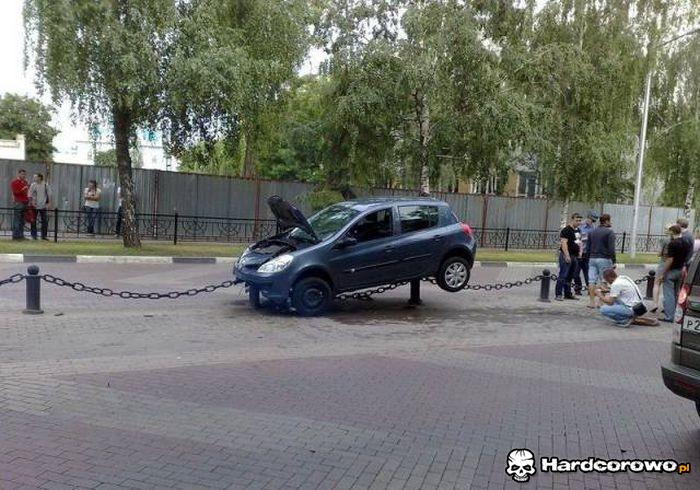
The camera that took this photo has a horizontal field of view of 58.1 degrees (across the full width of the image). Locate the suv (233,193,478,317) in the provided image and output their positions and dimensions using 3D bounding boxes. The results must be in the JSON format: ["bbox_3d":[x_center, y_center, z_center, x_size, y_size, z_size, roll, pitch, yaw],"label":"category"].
[{"bbox_3d":[0.002,0.055,12.962,4.133,2.011,2.291,-3,2,-26],"label":"suv"}]

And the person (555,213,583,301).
[{"bbox_3d":[5.262,0.279,15.149,0.479,2.071,0.771,6,11,19],"label":"person"}]

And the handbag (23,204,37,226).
[{"bbox_3d":[-9.993,-0.944,19.666,0.299,0.545,0.882,-3,12,-28],"label":"handbag"}]

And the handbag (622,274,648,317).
[{"bbox_3d":[6.052,1.089,13.383,0.252,0.721,0.470,-24,-8,-24],"label":"handbag"}]

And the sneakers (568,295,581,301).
[{"bbox_3d":[5.516,1.288,15.479,0.352,0.165,0.121,-3,9,-8],"label":"sneakers"}]

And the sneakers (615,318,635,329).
[{"bbox_3d":[5.433,1.539,12.364,0.396,0.189,0.151,-15,9,34],"label":"sneakers"}]

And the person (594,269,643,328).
[{"bbox_3d":[5.453,1.062,12.684,0.939,1.120,0.873,0,0,37],"label":"person"}]
